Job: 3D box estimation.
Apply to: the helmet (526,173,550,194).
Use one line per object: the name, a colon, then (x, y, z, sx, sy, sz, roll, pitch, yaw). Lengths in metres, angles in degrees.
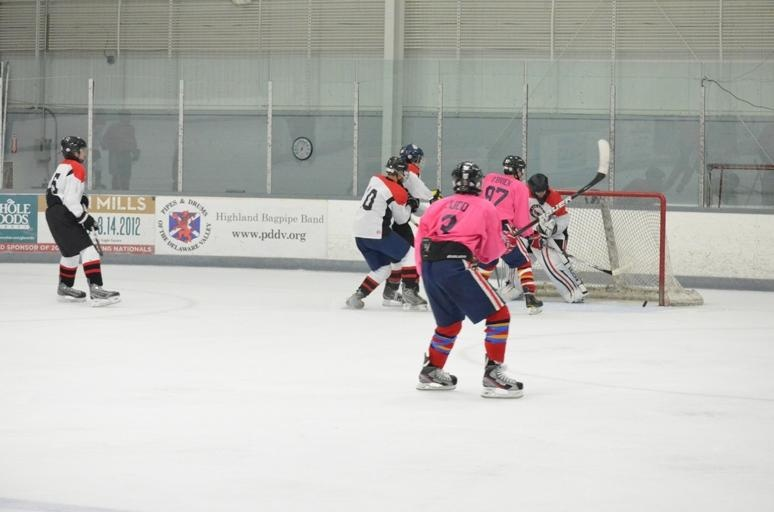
helmet: (2.004, -0.963, 14.078, 0.226, 0.279, 0.300, -6, -14, 4)

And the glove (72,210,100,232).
glove: (-3.827, -0.416, 13.531, 0.199, 0.272, 0.105, -35, 1, -41)

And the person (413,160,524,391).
person: (0.756, 0.221, 10.372, 0.984, 2.215, 0.554, 2, 8, 3)

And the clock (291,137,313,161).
clock: (-1.370, -1.719, 17.069, 0.348, 0.369, 0.086, 0, 0, 14)

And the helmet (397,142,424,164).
helmet: (0.333, -1.276, 13.715, 0.337, 0.339, 0.300, -7, 20, -18)

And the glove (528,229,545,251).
glove: (1.961, -0.203, 13.974, 0.182, 0.252, 0.237, 4, 2, 19)

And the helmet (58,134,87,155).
helmet: (-3.991, -1.411, 13.697, 0.364, 0.358, 0.294, -7, 18, -28)

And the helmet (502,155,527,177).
helmet: (1.623, -1.165, 13.768, 0.325, 0.330, 0.271, -3, 8, -40)

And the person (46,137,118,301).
person: (-3.897, -0.430, 13.490, 0.762, 2.112, 1.040, -1, 8, -21)

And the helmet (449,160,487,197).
helmet: (0.808, -0.773, 10.598, 0.331, 0.373, 0.423, 1, 5, 12)

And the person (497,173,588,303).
person: (2.113, -0.325, 14.365, 1.349, 1.698, 0.912, 13, 28, 38)

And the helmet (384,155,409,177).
helmet: (0.120, -1.112, 13.322, 0.243, 0.238, 0.224, -10, 31, -11)
